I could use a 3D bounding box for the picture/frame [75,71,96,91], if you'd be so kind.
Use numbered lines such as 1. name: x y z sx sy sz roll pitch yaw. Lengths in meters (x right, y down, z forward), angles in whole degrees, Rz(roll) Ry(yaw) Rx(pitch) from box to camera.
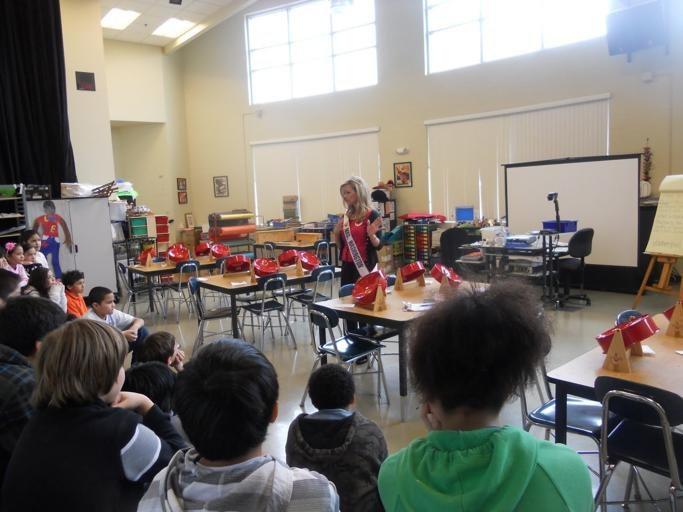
1. picture/frame: -4.388 -2.984 8.889 0.354 0.387 0.013 -4 12 -40

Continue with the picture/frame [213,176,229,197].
1. picture/frame: -2.865 -1.635 12.380 0.471 0.499 0.057 3 10 32

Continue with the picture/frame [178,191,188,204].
1. picture/frame: -3.862 -1.416 12.610 0.031 0.238 0.236 1 18 32

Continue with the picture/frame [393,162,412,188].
1. picture/frame: 1.172 -1.532 9.812 0.424 0.570 0.024 5 8 39

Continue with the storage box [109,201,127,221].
1. storage box: -3.802 -0.767 8.885 0.302 0.263 0.327 0 6 9
